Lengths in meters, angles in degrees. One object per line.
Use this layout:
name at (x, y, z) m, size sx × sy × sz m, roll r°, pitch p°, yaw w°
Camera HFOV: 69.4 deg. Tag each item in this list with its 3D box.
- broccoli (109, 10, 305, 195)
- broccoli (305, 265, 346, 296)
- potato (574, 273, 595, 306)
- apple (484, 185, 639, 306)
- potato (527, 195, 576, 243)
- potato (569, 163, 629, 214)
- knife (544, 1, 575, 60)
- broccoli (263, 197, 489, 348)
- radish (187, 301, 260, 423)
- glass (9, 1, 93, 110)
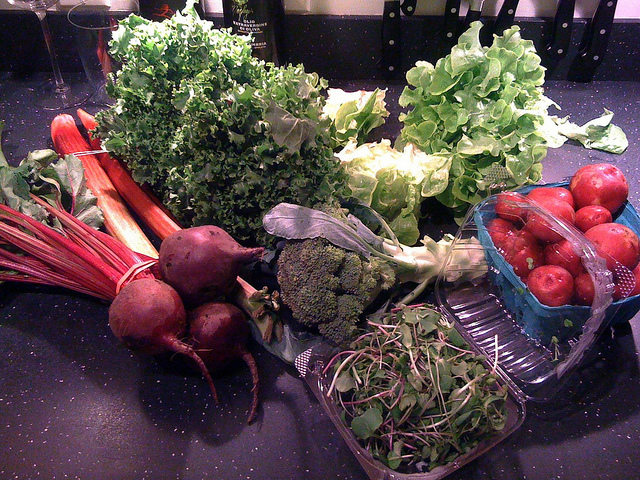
broccoli at (-0.314, -0.414, 1.243) m, size 0.461 × 0.232 × 0.327 m, roll 20°, pitch 11°, yaw -24°
broccoli at (0.012, 0.096, 1.058) m, size 0.075 × 0.031 × 0.077 m, roll -17°, pitch 73°, yaw -3°
potato at (0.548, 0.102, 0.966) m, size 0.051 × 0.064 × 0.053 m, roll 1°, pitch 12°, yaw 21°
apple at (0.549, 0.039, 1.088) m, size 0.247 × 0.140 × 0.306 m, roll -7°, pitch 45°, yaw -2°
potato at (0.510, -0.041, 1.020) m, size 0.071 × 0.070 × 0.071 m, roll -39°, pitch 81°, yaw -11°
potato at (0.701, -0.127, 1.200) m, size 0.121 × 0.132 × 0.132 m, roll -5°, pitch 5°, yaw -17°
knife at (0.823, -0.709, 1.568) m, size 0.077 × 0.192 × 0.058 m, roll 19°, pitch 43°, yaw 19°
broccoli at (0.157, 0.086, 1.202) m, size 0.558 × 0.321 × 0.459 m, roll -1°, pitch 21°, yaw 23°
radish at (-0.224, 0.250, 1.085) m, size 0.297 × 0.126 × 0.127 m, roll 43°, pitch 26°, yaw 19°
glass at (-0.966, -0.665, 1.652) m, size 0.209 × 0.309 × 0.216 m, roll -26°, pitch 53°, yaw -29°
